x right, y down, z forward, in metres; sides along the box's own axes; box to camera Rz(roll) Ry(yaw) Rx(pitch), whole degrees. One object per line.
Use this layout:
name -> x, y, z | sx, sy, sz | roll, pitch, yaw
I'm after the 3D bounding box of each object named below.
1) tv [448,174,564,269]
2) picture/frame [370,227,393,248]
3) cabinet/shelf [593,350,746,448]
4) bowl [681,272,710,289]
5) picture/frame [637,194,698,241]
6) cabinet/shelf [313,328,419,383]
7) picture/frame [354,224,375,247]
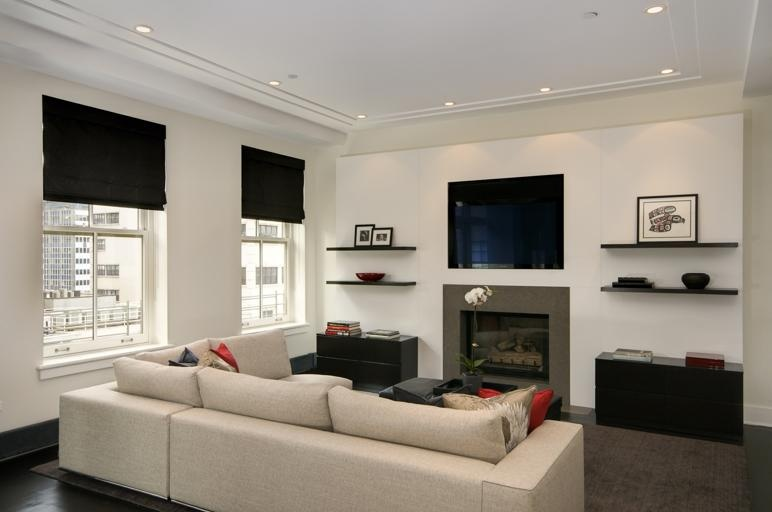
tv -> 1.456, -0.361, 6.523 | 1.546, 1.073, 0.047 | -3, 5, -10
picture/frame -> -0.041, -0.250, 7.145 | 0.291, 0.264, 0.020 | 3, -1, 28
cabinet/shelf -> 3.043, 1.477, 5.641 | 1.384, 0.656, 0.469 | -2, -1, 41
bowl -> 3.274, 0.270, 5.543 | 0.204, 0.129, 0.198 | 0, -6, 0
picture/frame -> 3.102, -0.411, 5.753 | 0.551, 0.502, 0.054 | 0, -3, 25
cabinet/shelf -> -0.261, 1.362, 7.170 | 1.417, 0.678, 0.495 | 2, 12, 17
picture/frame -> -0.281, -0.284, 7.274 | 0.313, 0.328, 0.024 | 5, 4, 31
